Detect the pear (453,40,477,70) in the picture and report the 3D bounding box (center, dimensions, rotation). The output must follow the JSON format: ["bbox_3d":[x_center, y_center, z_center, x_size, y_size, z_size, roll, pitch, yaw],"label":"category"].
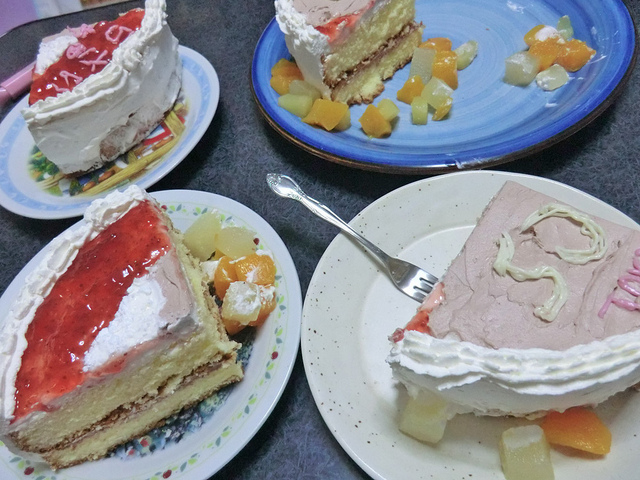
[{"bbox_3d":[0.632,-0.831,3.028,0.098,0.056,0.194,27,34,13],"label":"pear"}]

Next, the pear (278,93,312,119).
[{"bbox_3d":[-0.106,-0.571,2.840,0.126,0.060,0.089,20,68,22],"label":"pear"}]

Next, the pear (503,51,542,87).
[{"bbox_3d":[0.844,-0.719,2.835,0.131,0.090,0.155,34,87,23],"label":"pear"}]

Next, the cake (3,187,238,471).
[{"bbox_3d":[-0.751,0.336,2.349,0.815,0.252,0.831,-31,76,-6],"label":"cake"}]

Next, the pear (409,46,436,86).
[{"bbox_3d":[0.444,-0.773,2.962,0.114,0.045,0.211,11,89,9],"label":"pear"}]

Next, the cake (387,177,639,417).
[{"bbox_3d":[0.655,0.206,2.217,0.762,0.232,0.816,18,76,7],"label":"cake"}]
